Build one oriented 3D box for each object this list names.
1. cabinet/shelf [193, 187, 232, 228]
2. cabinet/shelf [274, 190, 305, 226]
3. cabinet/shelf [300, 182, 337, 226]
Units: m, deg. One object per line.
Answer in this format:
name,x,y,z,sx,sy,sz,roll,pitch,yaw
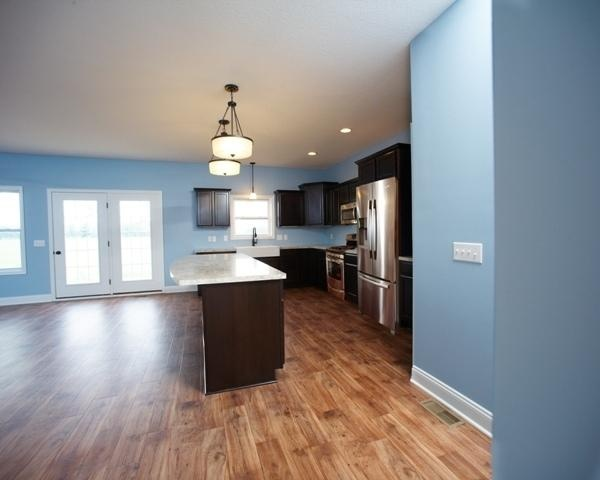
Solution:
cabinet/shelf,-1.338,-0.490,6.378,0.524,0.602,0.242,1,-2,-22
cabinet/shelf,-0.152,-0.473,6.987,0.490,0.649,0.299,0,-22,-5
cabinet/shelf,0.305,-0.566,6.926,0.543,0.668,0.409,3,11,22
